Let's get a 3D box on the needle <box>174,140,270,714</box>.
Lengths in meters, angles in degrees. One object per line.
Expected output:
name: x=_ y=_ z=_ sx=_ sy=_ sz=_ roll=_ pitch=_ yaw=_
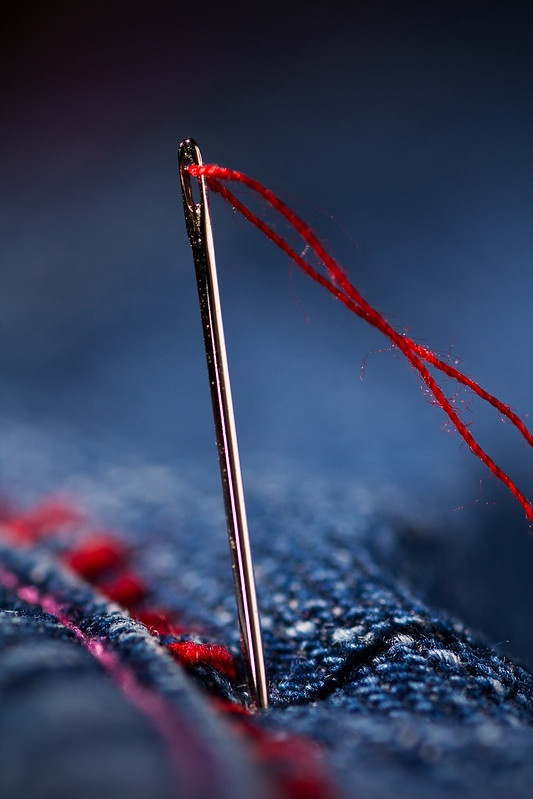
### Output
needle: x=-0.041 y=0.040 z=0.786 sx=0.013 sy=0.515 sz=0.034 roll=-5 pitch=-5 yaw=-29
